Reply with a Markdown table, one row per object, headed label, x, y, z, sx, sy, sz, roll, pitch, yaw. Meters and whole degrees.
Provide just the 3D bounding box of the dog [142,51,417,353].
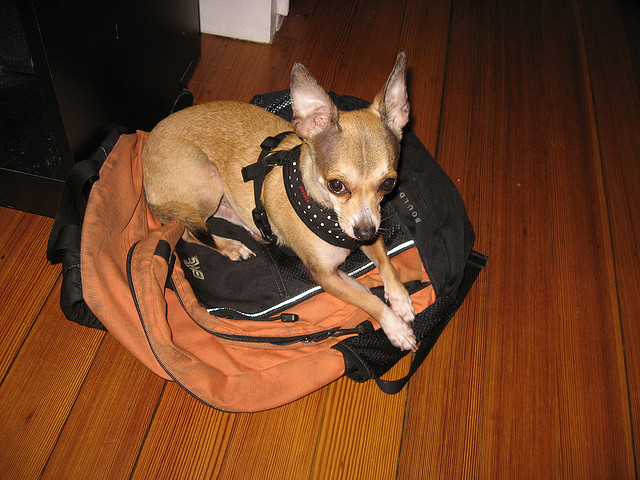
| label | x | y | z | sx | sy | sz | roll | pitch | yaw |
| --- | --- | --- | --- | --- | --- | --- | --- | --- | --- |
| dog | -0.293 | -0.156 | 3.490 | 0.923 | 1.181 | 1.658 | -28 | 70 | -29 |
